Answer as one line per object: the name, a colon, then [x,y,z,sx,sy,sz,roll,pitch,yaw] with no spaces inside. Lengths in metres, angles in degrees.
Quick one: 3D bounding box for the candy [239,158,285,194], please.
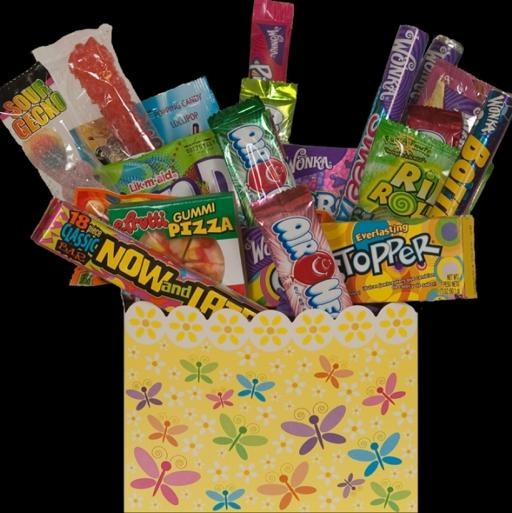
candy: [0.016,-0.128,0.918,0.067,0.024,0.047,-18,58,-2]
